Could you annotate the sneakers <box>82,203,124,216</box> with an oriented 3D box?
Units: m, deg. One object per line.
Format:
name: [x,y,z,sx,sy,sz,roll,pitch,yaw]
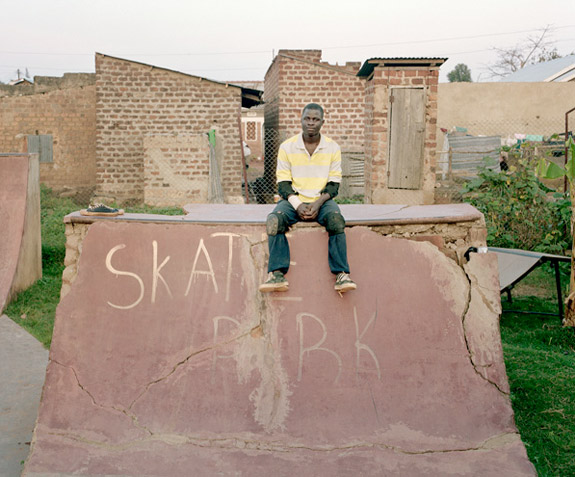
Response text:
sneakers: [-1.559,-0.247,4.453,0.231,0.085,0.179,1,6,3]

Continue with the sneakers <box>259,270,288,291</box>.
sneakers: [-0.112,0.332,4.102,0.215,0.169,0.190,-1,11,2]

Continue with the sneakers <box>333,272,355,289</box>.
sneakers: [0.428,0.335,4.079,0.165,0.160,0.193,0,11,6]

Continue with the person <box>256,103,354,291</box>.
person: [0.150,-0.370,4.336,0.706,1.474,0.913,-1,10,3]
